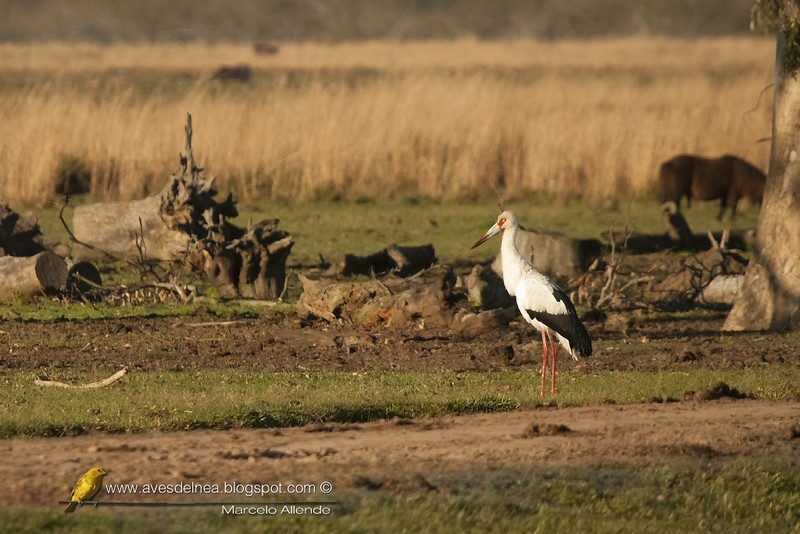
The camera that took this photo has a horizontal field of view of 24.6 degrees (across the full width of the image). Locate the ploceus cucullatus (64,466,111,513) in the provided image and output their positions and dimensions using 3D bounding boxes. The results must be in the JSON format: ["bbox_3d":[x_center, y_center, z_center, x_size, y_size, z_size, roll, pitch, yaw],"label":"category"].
[{"bbox_3d":[-8.061,5.670,47.033,1.058,1.136,0.404,0,-1,-9],"label":"ploceus cucullatus"}]

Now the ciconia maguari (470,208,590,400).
[{"bbox_3d":[3.834,0.859,52.072,2.353,6.082,3.099,0,1,28],"label":"ciconia maguari"}]
